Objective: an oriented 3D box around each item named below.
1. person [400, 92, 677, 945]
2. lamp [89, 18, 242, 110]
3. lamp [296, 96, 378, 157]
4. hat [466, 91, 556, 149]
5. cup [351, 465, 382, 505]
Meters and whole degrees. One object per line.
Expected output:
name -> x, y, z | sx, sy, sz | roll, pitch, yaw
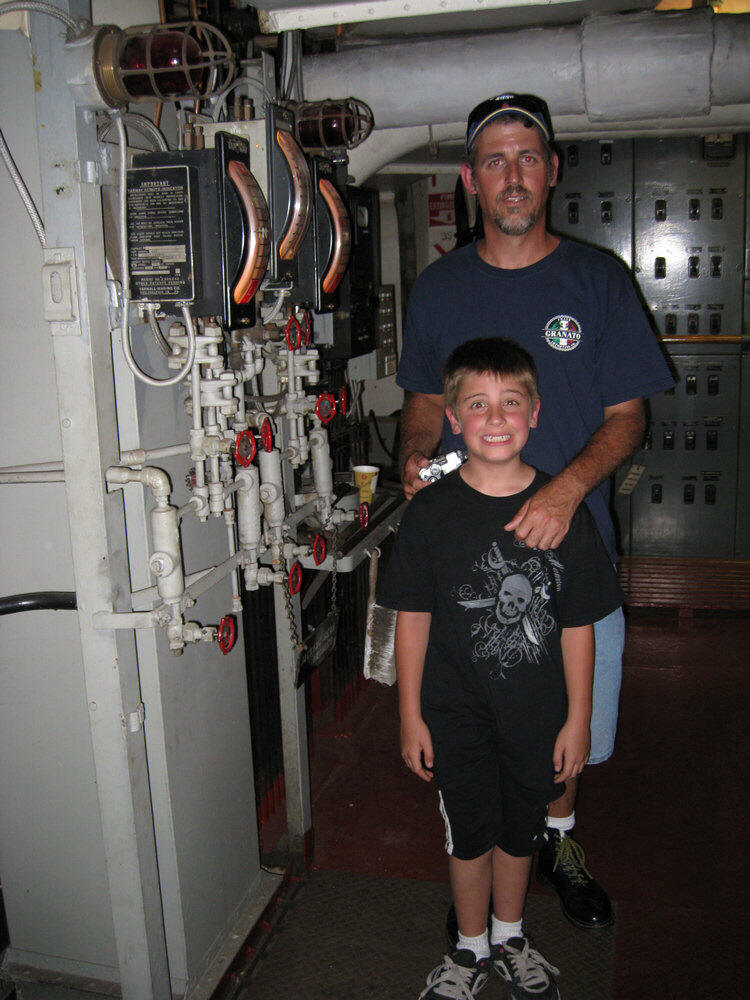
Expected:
person -> 0.363, 0.095, 2.085 | 0.740, 2.058, 0.693 | 1, 10, 17
lamp -> -0.389, -0.792, 1.519 | 0.242, 0.156, 0.214 | -5, 10, -16
lamp -> -0.111, -0.971, 2.155 | 0.242, 0.143, 0.128 | 6, 23, 11
hat -> 0.313, -0.913, 1.968 | 0.197, 0.148, 0.215 | -1, 10, 7
cup -> -0.064, -0.051, 3.123 | 0.129, 0.142, 0.129 | 1, -3, 0
